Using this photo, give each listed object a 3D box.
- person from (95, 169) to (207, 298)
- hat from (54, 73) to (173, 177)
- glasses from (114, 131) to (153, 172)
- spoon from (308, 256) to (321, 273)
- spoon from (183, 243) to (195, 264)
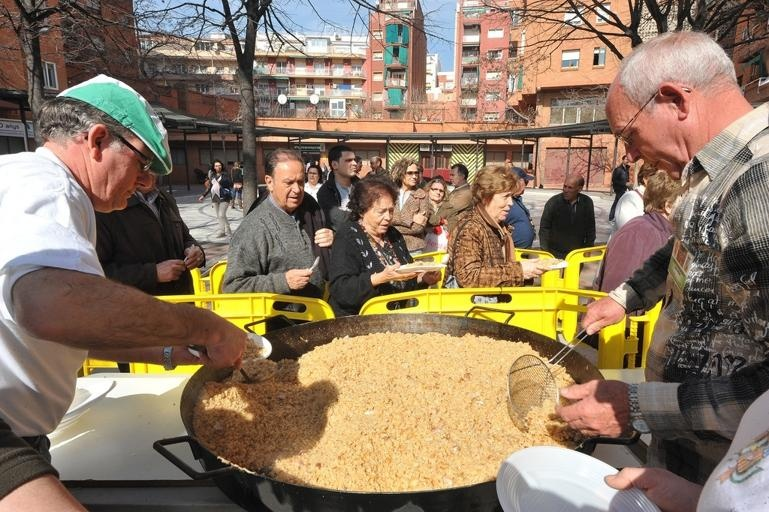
[{"bbox_3d":[-1.829,-0.083,4.820,0.577,1.308,0.977,0,-1,-4],"label":"person"},{"bbox_3d":[-1.247,-0.562,2.864,0.323,0.468,0.518,-1,11,-39],"label":"hat"},{"bbox_3d":[-1.145,-0.482,2.773,0.040,0.142,0.135,-35,-4,-7],"label":"glasses"},{"bbox_3d":[-0.565,0.071,4.926,0.023,0.050,0.213,11,-41,-44],"label":"spoon"},{"bbox_3d":[-1.594,-0.012,4.988,0.106,0.112,0.159,-6,25,-4],"label":"spoon"}]
